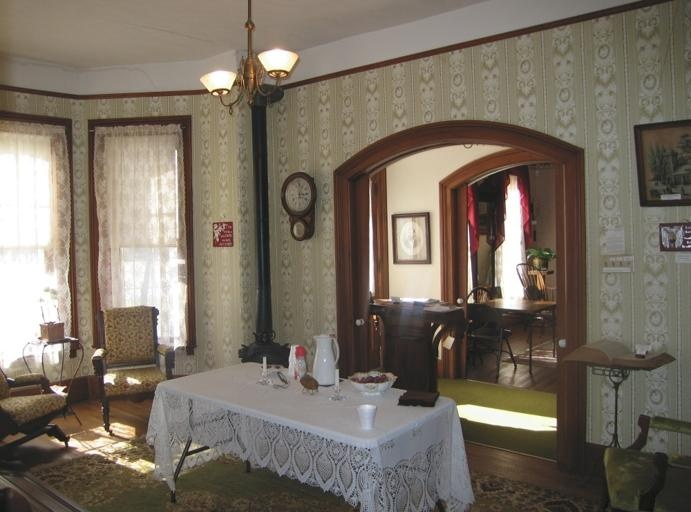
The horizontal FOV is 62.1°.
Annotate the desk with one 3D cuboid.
[{"bbox_3d":[0.675,0.874,6.103,0.885,1.026,0.368,0,-1,34],"label":"desk"}]

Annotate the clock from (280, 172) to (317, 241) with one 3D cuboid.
[{"bbox_3d":[-0.505,-0.532,6.255,0.456,0.759,0.149,4,8,34],"label":"clock"}]

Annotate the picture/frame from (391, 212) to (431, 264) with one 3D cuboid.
[{"bbox_3d":[0.904,-0.245,7.761,0.595,0.835,0.048,-1,-1,44],"label":"picture/frame"}]

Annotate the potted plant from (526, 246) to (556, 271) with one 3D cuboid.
[{"bbox_3d":[3.755,0.063,11.172,0.462,0.411,0.518,1,-3,-3],"label":"potted plant"}]

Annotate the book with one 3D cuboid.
[{"bbox_3d":[2.077,0.788,4.434,0.601,0.154,0.347,-5,-2,42],"label":"book"}]

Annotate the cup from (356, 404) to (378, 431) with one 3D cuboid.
[{"bbox_3d":[0.132,1.031,3.678,0.123,0.149,0.131,-1,3,0],"label":"cup"}]

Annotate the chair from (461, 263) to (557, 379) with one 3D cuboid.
[{"bbox_3d":[2.364,0.932,8.321,1.006,1.355,2.192,0,-1,31],"label":"chair"}]

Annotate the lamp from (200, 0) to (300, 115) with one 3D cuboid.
[{"bbox_3d":[-0.897,-1.928,5.445,0.837,1.373,0.717,-9,11,-42],"label":"lamp"}]
